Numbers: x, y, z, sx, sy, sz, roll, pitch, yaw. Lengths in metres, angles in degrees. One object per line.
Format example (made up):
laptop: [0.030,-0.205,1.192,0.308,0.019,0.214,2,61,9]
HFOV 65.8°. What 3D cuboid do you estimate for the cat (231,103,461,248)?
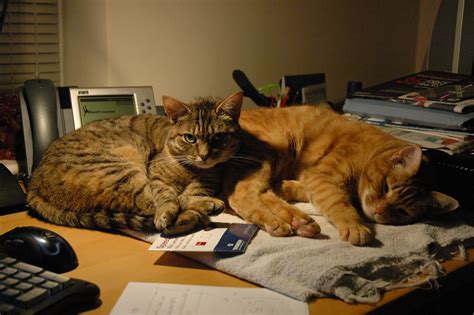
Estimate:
cat: [0.305,0.043,1.301,0.435,0.197,0.574,-6,21,-38]

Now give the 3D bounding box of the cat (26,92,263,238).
cat: [-0.370,0.059,1.332,0.637,0.398,0.587,-8,27,-41]
